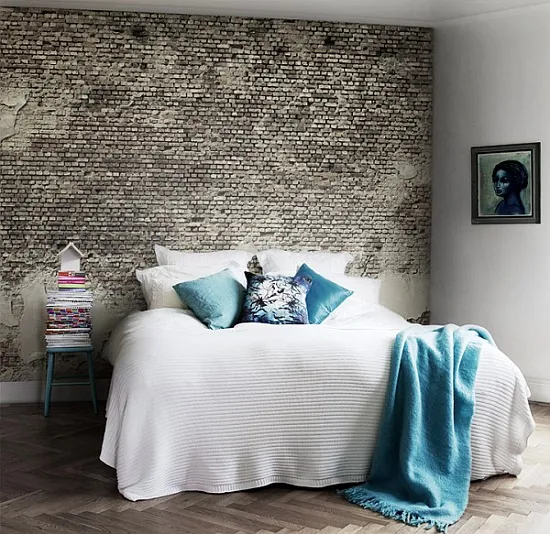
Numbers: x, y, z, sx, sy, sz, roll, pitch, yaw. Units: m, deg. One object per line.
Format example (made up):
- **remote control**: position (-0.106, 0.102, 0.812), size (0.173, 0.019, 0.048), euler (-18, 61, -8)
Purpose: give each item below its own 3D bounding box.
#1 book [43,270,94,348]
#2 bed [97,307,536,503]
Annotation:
- **book**: position (-1.497, 0.302, 4.297), size (0.306, 0.544, 0.191), euler (-1, 4, -17)
- **bed**: position (0.156, 0.690, 3.530), size (2.133, 0.753, 1.402), euler (0, 3, -7)
